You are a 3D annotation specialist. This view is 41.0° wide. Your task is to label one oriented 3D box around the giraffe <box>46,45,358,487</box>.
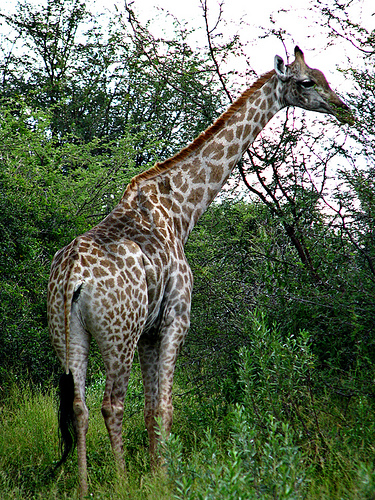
[{"bbox_3d":[-0.107,-0.078,4.126,2.243,3.454,0.688,1,-9,-35],"label":"giraffe"}]
